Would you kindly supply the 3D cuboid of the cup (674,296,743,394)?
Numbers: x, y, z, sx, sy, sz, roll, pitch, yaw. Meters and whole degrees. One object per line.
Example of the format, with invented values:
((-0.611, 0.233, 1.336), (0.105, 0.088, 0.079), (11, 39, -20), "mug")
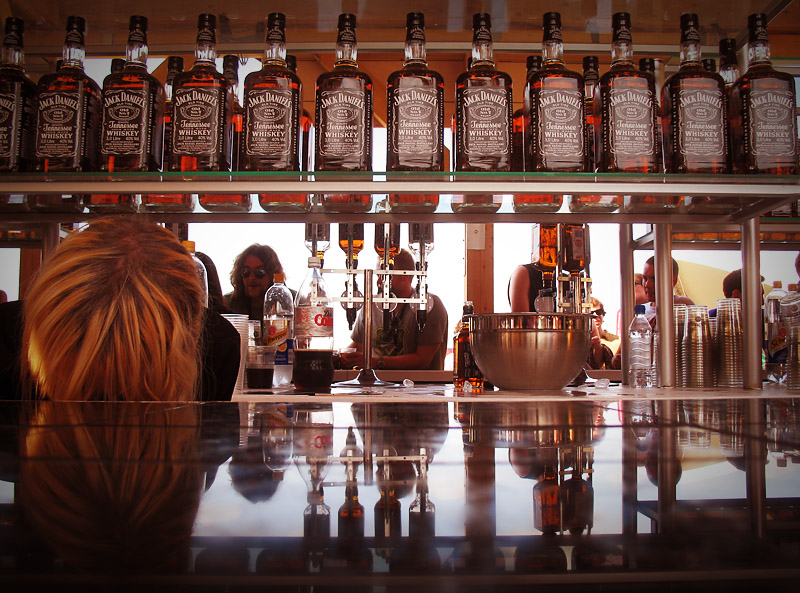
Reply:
((0.705, 0.108, 1.763), (0.141, 0.198, 0.075), (-1, -4, 20), "cup")

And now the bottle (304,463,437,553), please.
((-0.021, 0.138, 0.552), (0.103, 0.022, 0.088), (-1, 29, 0), "bottle")

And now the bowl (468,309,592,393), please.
((0.286, 0.127, 1.710), (0.301, 0.160, 0.273), (1, -5, 3), "bowl")

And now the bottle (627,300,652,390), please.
((0.614, 0.122, 1.970), (0.057, 0.205, 0.229), (-1, -4, 18), "bottle")

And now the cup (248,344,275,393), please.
((-0.335, 0.171, 1.853), (0.099, 0.095, 0.093), (0, -17, 0), "cup")

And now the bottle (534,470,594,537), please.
((0.113, 0.144, 0.533), (0.023, 0.040, 0.032), (0, 1, -42), "bottle")
